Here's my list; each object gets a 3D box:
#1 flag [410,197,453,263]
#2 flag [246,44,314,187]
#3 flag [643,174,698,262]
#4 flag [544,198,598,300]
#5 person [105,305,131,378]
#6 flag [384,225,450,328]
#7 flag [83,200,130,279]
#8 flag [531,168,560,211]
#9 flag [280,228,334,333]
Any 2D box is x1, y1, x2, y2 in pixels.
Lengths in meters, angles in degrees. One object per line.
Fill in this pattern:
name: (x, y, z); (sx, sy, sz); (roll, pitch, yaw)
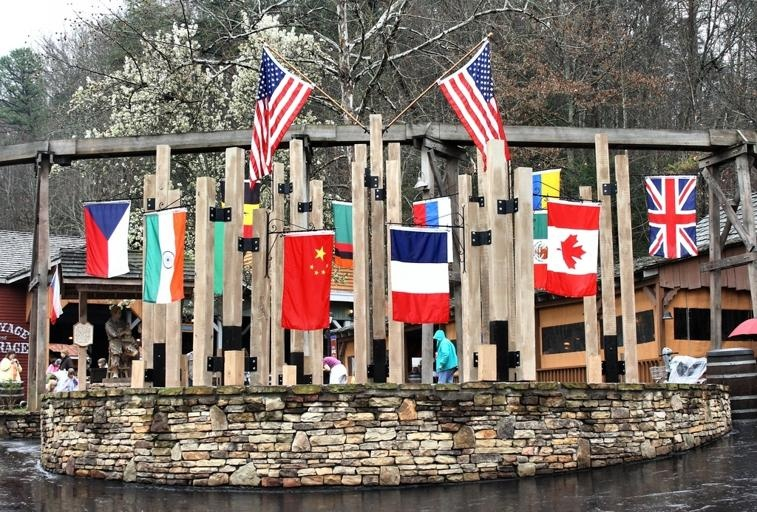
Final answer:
flag: (1.507, -0.526, 42.865); (0.878, 1.933, 0.887); (3, 6, -19)
flag: (-2.742, -3.750, 41.393); (1.328, 3.914, 1.007); (-2, 6, -12)
flag: (8.335, -1.071, 45.282); (1.417, 2.340, 0.669); (1, 6, 7)
flag: (4.973, -0.126, 40.942); (1.344, 2.542, 0.559); (0, 6, 3)
person: (-7.964, 2.815, 48.860); (0.820, 2.454, 0.746); (5, -24, -25)
flag: (0.997, 0.527, 40.492); (1.527, 2.503, 0.509); (0, 6, -4)
flag: (-7.339, -0.426, 42.804); (1.169, 2.088, 0.507); (-1, 6, -7)
flag: (4.474, -1.734, 42.781); (1.142, 1.289, 0.182); (1, 6, 14)
flag: (-1.833, 0.699, 40.536); (1.299, 2.617, 0.583); (-1, 6, -5)
